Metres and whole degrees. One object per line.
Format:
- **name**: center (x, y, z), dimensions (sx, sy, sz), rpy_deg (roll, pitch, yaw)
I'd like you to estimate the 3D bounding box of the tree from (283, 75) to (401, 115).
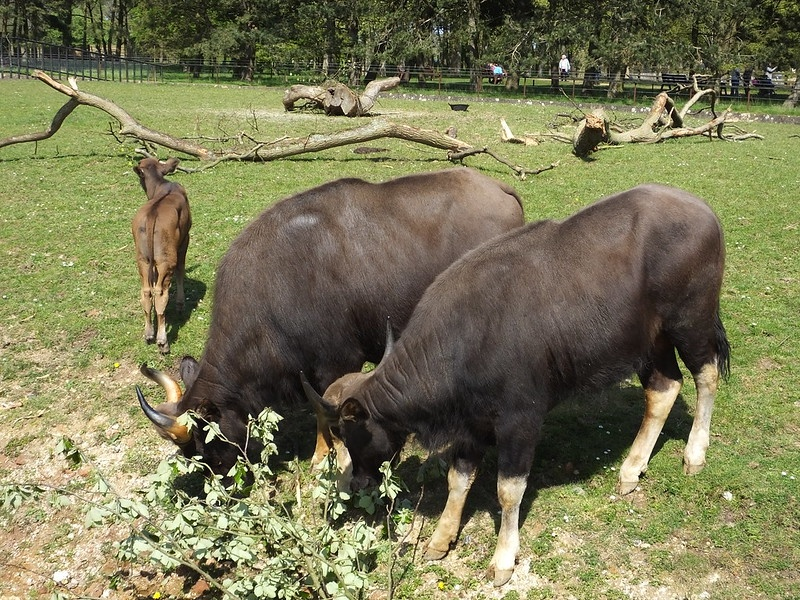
- **tree**: center (-2.239, -7.381, 28.928), dimensions (3.949, 1.373, 2.287), rpy_deg (-7, 39, -9)
